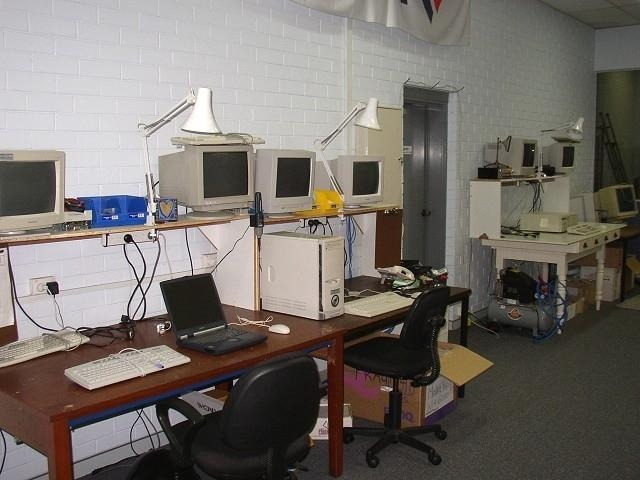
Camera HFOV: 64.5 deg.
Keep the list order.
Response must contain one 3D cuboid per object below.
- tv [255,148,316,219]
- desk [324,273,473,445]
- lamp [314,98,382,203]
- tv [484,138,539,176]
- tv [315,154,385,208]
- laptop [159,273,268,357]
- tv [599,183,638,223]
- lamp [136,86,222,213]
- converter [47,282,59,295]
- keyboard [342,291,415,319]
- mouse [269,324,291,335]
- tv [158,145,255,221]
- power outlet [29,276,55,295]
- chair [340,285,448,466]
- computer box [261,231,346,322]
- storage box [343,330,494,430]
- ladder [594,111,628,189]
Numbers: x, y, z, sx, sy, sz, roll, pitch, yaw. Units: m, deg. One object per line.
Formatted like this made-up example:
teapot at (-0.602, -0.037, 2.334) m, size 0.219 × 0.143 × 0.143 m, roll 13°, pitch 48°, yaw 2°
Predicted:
tv at (-0.267, -0.408, 3.452) m, size 0.243 × 0.406 × 0.455 m, roll 11°, pitch 13°, yaw 35°
desk at (0.444, 0.604, 3.675) m, size 1.282 × 0.915 × 0.970 m, roll 4°, pitch 8°, yaw 39°
lamp at (0.196, -0.697, 3.913) m, size 0.491 × 0.734 × 0.766 m, roll 0°, pitch 11°, yaw 3°
tv at (2.186, -0.950, 5.715) m, size 0.517 × 0.431 × 0.488 m, roll 6°, pitch 11°, yaw 35°
tv at (0.218, -0.443, 3.913) m, size 0.426 × 0.373 × 0.413 m, roll 6°, pitch 10°, yaw 37°
laptop at (-0.567, 0.393, 2.744) m, size 0.468 × 0.310 × 0.404 m, roll 8°, pitch 9°, yaw 37°
tv at (4.289, -0.498, 7.284) m, size 0.631 × 0.555 × 0.339 m, roll -7°, pitch 2°, yaw -36°
lamp at (-0.821, -0.538, 2.972) m, size 0.448 × 0.705 × 0.710 m, roll -4°, pitch 12°, yaw -18°
converter at (-1.510, 0.276, 2.857) m, size 0.050 × 0.090 × 0.067 m, roll 5°, pitch 6°, yaw 26°
keyboard at (0.371, 0.425, 3.328) m, size 0.179 × 0.033 × 0.328 m, roll 10°, pitch 12°, yaw 36°
mouse at (-0.225, 0.512, 2.882) m, size 0.093 × 0.029 × 0.053 m, roll 6°, pitch 8°, yaw 26°
tv at (-0.706, -0.384, 3.190) m, size 0.553 × 0.366 × 0.535 m, roll 3°, pitch 10°, yaw 17°
power outlet at (-1.559, 0.251, 2.863) m, size 0.084 × 0.113 × 0.164 m, roll 5°, pitch 6°, yaw 32°
chair at (0.489, 0.845, 3.292) m, size 0.700 × 1.053 × 0.647 m, roll -2°, pitch -3°, yaw 45°
computer box at (-0.126, 0.228, 3.283) m, size 0.512 × 0.479 × 0.305 m, roll 4°, pitch 6°, yaw 32°
storage box at (0.710, 1.060, 3.771) m, size 1.032 × 0.430 × 0.817 m, roll -3°, pitch -1°, yaw 23°
ladder at (4.723, -1.446, 8.233) m, size 0.695 × 1.204 × 0.298 m, roll -6°, pitch 13°, yaw -27°
